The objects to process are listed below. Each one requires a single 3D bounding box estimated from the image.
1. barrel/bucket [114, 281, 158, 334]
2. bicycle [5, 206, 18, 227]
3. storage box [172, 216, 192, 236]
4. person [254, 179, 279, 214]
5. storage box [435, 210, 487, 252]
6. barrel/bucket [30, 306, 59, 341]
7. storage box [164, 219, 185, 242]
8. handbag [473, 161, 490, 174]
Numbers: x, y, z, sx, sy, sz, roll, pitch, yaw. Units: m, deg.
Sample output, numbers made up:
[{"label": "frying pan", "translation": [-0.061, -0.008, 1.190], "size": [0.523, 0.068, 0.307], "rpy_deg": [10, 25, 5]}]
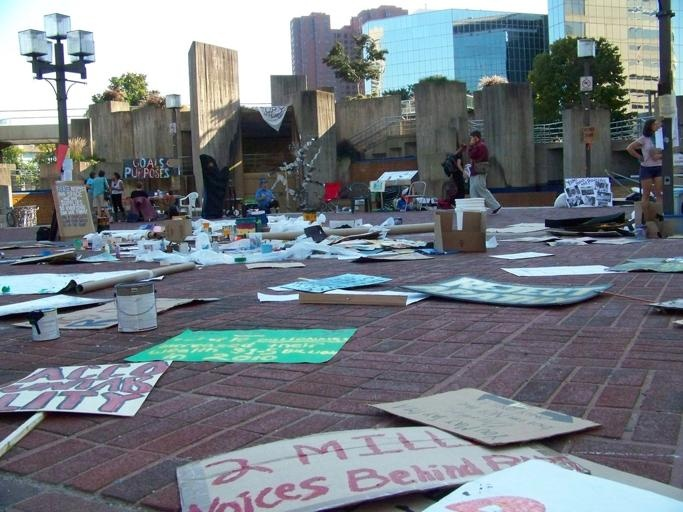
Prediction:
[{"label": "barrel/bucket", "translation": [-1.468, 0.356, 3.607], "size": [0.398, 0.321, 0.380], "rpy_deg": [-1, 0, 0]}, {"label": "bicycle", "translation": [-13.939, -1.648, 21.187], "size": [0.294, 0.805, 1.525], "rpy_deg": [-10, 11, -27]}, {"label": "storage box", "translation": [-3.534, -0.639, 10.654], "size": [0.558, 0.416, 0.497], "rpy_deg": [0, 7, 4]}, {"label": "person", "translation": [-2.854, -2.230, 18.924], "size": [0.749, 1.321, 2.725], "rpy_deg": [-6, 9, -8]}, {"label": "storage box", "translation": [1.819, -0.397, 7.852], "size": [0.806, 0.436, 0.675], "rpy_deg": [1, 16, 10]}, {"label": "barrel/bucket", "translation": [-2.048, 0.473, 3.480], "size": [0.257, 0.207, 0.220], "rpy_deg": [-1, -2, -4]}, {"label": "storage box", "translation": [-3.449, -0.535, 10.418], "size": [0.420, 0.440, 0.464], "rpy_deg": [-7, 9, -15]}, {"label": "handbag", "translation": [3.748, -2.405, 13.685], "size": [0.412, 0.243, 0.372], "rpy_deg": [-1, 1, -23]}]
